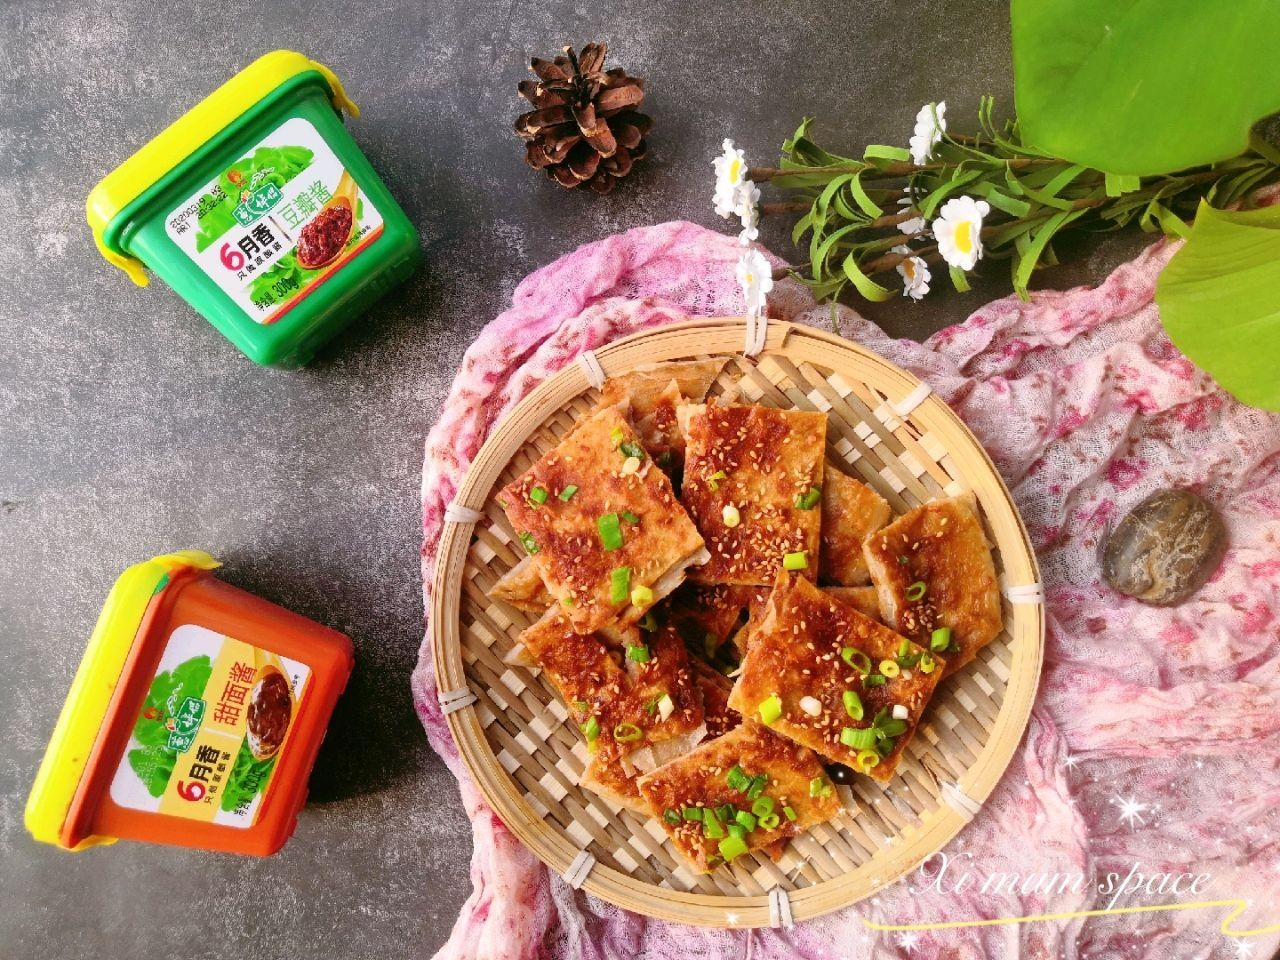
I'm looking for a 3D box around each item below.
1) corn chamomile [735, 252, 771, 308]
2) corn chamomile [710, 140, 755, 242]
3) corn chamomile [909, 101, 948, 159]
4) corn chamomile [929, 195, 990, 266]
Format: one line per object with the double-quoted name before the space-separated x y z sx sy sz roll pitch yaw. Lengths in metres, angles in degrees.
"corn chamomile" 0.472 -0.790 4.873 0.093 0.179 0.210 -18 109 -36
"corn chamomile" 0.371 -1.123 4.883 0.142 0.335 0.384 -10 78 0
"corn chamomile" 1.072 -1.332 4.670 0.092 0.271 0.273 5 46 22
"corn chamomile" 1.149 -0.895 4.538 0.223 0.091 0.243 30 120 43
